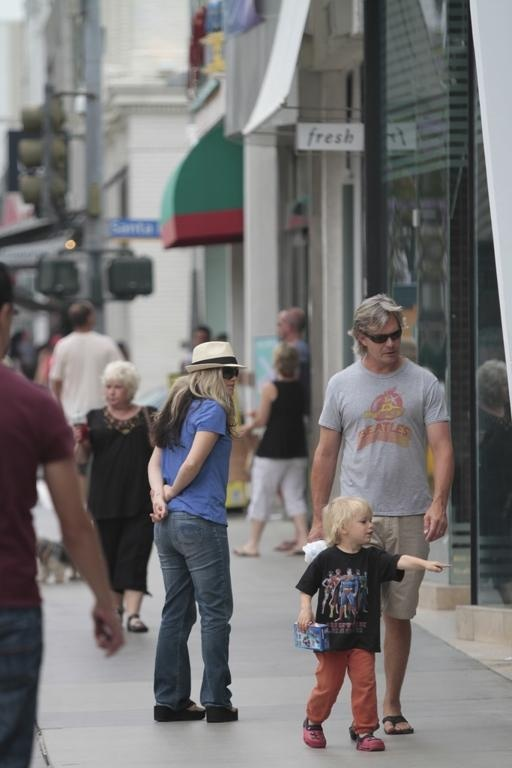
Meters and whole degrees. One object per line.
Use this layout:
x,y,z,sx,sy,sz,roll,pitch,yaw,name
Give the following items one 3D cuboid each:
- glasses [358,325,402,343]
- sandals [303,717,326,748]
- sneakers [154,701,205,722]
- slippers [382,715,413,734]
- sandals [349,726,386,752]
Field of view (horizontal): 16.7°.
0.555,-0.210,7.673,0.170,0.063,0.120,1,3,3,glasses
0.249,1.513,7.574,0.125,0.113,0.103,2,3,20,sandals
-0.344,1.511,8.043,0.255,0.131,0.093,0,-1,-22,sneakers
0.633,1.504,7.707,0.135,0.074,0.111,1,3,2,slippers
0.481,1.523,7.527,0.125,0.086,0.223,0,3,-6,sandals
